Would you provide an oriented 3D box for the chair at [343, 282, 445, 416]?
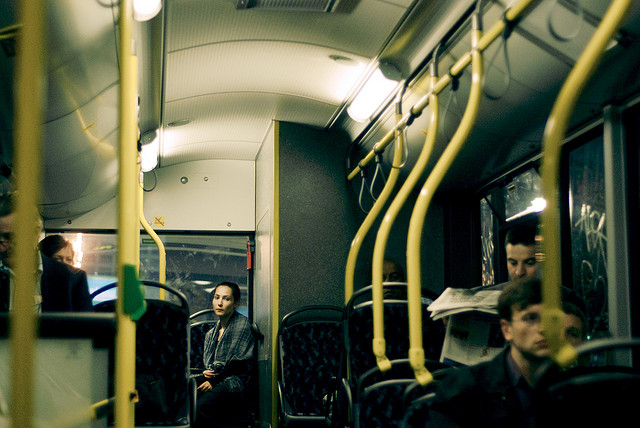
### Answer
[{"bbox_3d":[0.382,0.872,3.576,0.517,0.788,0.568,-2,18,-7],"label":"chair"}]

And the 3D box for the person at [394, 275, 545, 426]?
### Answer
[{"bbox_3d":[0.649,0.623,2.589,0.514,0.710,0.211,-4,-48,14],"label":"person"}]

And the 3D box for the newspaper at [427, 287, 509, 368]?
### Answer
[{"bbox_3d":[0.727,0.549,3.211,0.430,0.427,0.419,1,-4,0],"label":"newspaper"}]

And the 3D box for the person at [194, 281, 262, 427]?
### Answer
[{"bbox_3d":[-0.786,1.134,5.608,0.494,1.191,0.761,0,-16,-9],"label":"person"}]

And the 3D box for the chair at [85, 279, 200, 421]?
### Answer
[{"bbox_3d":[-0.860,0.779,3.776,0.334,0.738,0.459,2,-16,-14],"label":"chair"}]

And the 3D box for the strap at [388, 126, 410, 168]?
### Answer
[{"bbox_3d":[0.486,-0.428,3.954,0.117,0.025,0.466,-5,28,17],"label":"strap"}]
